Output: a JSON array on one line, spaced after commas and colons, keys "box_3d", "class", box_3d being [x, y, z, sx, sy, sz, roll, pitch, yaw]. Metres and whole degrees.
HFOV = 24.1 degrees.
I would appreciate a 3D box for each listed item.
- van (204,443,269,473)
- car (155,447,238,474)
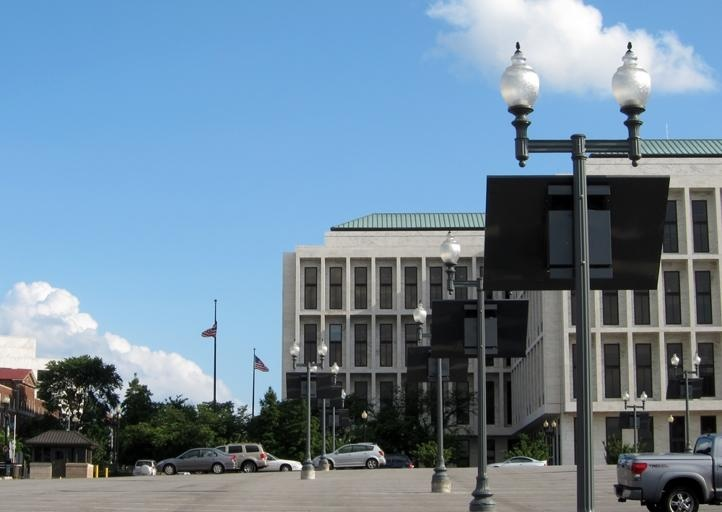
[{"box_3d": [-8.603, 14.751, 123.798, 5.576, 2.015, 3.386, -3, -8, -9], "class": "van"}, {"box_3d": [-11.889, 15.026, 123.079, 5.058, 1.690, 2.214, 3, -12, -1], "class": "car"}]
